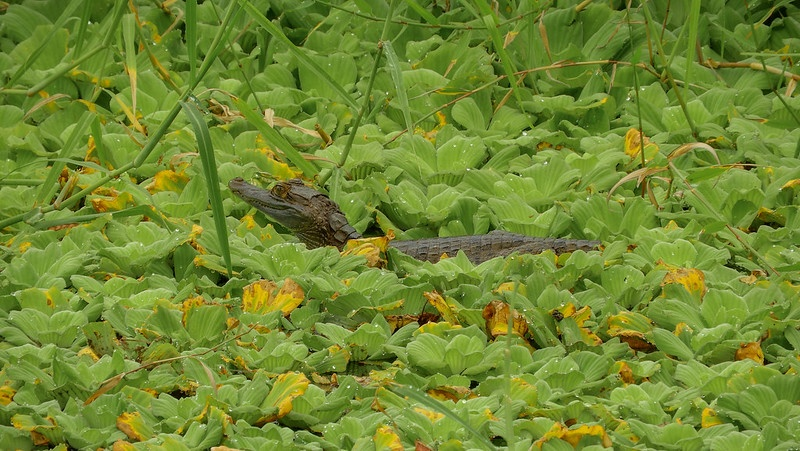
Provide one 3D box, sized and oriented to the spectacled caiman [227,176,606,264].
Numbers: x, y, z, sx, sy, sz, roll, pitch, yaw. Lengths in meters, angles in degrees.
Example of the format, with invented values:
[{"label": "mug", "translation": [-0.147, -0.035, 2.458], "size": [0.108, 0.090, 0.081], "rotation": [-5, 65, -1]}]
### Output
[{"label": "spectacled caiman", "translation": [0.058, -0.192, 5.569], "size": [2.260, 0.727, 0.724], "rotation": [1, 99, 0]}]
